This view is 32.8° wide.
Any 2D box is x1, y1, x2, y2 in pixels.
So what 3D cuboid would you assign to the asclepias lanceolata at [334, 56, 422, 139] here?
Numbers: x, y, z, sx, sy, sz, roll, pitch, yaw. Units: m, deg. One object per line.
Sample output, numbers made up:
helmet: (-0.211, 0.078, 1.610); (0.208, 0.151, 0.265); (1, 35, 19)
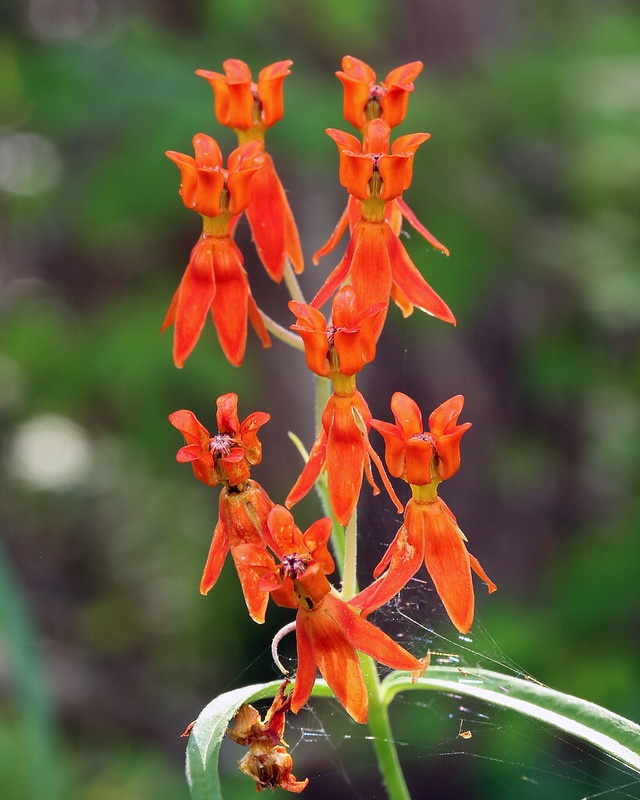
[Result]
asclepias lanceolata: (0.095, -0.463, 1.668); (0.154, 0.098, 0.122); (-15, 43, -17)
